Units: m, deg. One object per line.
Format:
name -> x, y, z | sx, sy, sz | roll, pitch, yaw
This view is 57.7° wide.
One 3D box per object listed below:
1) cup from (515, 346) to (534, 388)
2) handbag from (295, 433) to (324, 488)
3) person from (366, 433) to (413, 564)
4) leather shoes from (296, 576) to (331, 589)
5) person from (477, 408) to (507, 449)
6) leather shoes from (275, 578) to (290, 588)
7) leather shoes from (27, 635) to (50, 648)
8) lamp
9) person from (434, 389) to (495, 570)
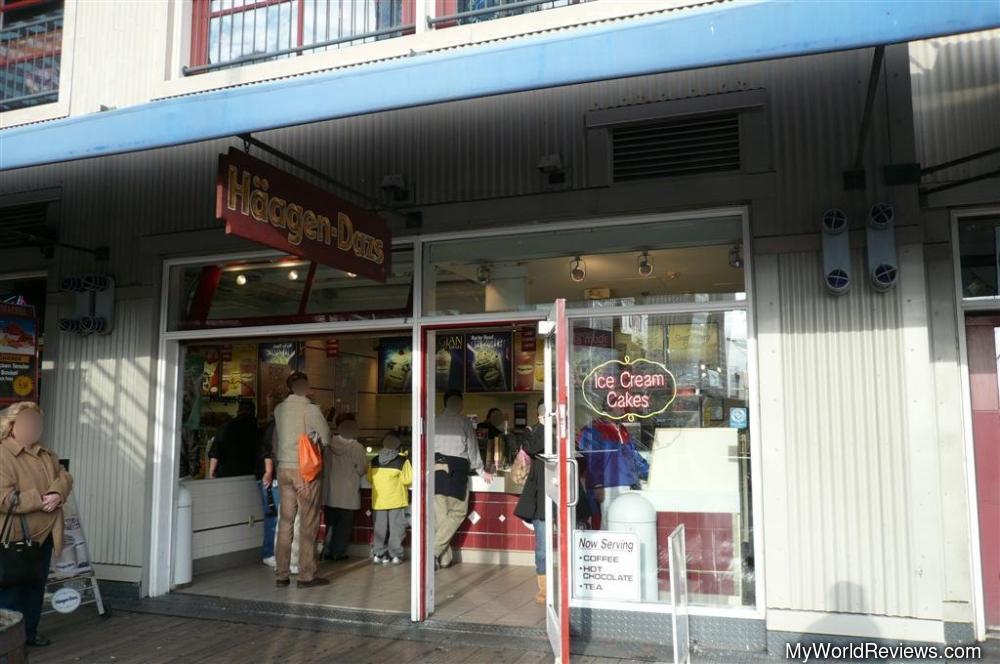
cup -> 0.382, 0.585, 14.129 | 0.324, 0.613, 0.172 | -1, 4, 10
handbag -> -2.015, 1.340, 9.525 | 0.218, 0.513, 0.465 | -9, -10, 10
person -> -1.301, 1.965, 10.761 | 0.512, 1.476, 0.413 | -2, 4, -4
leather shoes -> -1.975, 2.620, 9.634 | 0.350, 0.145, 0.119 | -3, -1, -27
person -> -0.131, 1.410, 13.282 | 0.438, 0.832, 0.429 | 1, 0, 17
leather shoes -> -2.314, 2.658, 9.620 | 0.058, 0.078, 0.178 | 0, -2, 8
leather shoes -> -4.082, 2.743, 8.057 | 0.197, 0.084, 0.081 | 2, -3, -7
lamp -> 1.070, -0.560, 8.322 | 2.245, 0.390, 0.191 | -1, 5, 20
person -> -0.483, 1.721, 10.489 | 0.658, 2.041, 0.612 | -3, 4, -10
